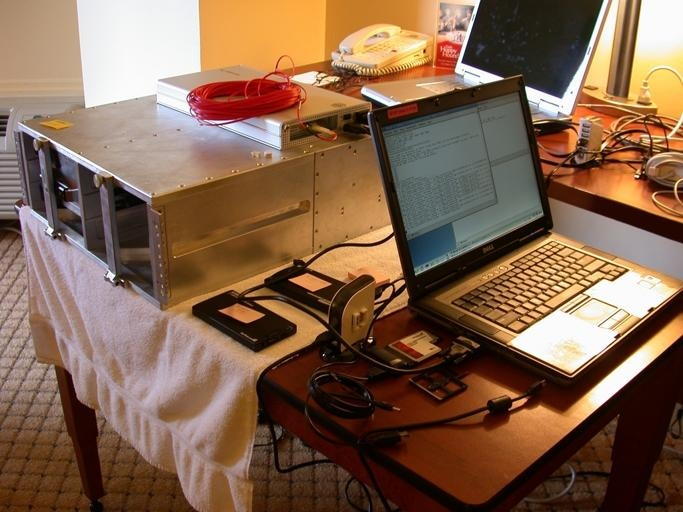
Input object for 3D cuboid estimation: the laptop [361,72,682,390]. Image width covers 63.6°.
[{"bbox_3d":[0.313,-0.052,1.146,0.689,0.471,0.588,-26,41,-33],"label":"laptop"}]
